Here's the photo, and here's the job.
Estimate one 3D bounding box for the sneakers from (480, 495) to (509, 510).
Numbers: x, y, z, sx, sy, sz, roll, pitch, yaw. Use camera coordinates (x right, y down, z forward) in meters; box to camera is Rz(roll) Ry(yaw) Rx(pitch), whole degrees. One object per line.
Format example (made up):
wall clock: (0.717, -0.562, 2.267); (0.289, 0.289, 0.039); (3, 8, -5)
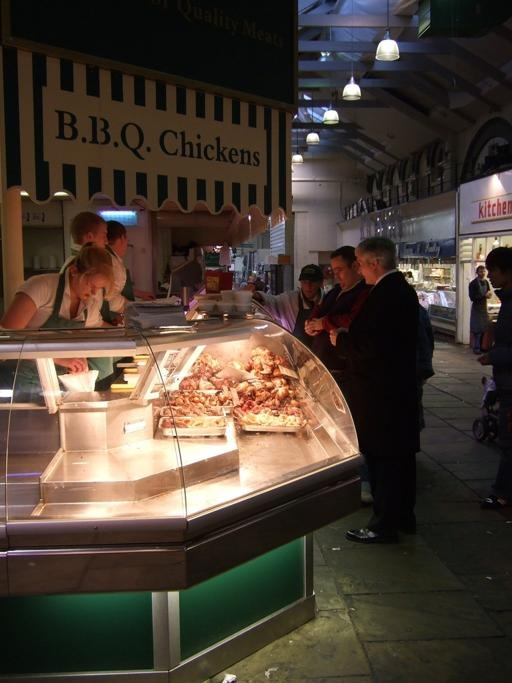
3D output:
sneakers: (1.588, 1.078, 3.755); (0.207, 0.077, 0.073); (-3, 6, -4)

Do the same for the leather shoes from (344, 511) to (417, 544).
leather shoes: (0.696, 1.059, 3.251); (0.459, 0.176, 0.159); (1, -1, 3)
